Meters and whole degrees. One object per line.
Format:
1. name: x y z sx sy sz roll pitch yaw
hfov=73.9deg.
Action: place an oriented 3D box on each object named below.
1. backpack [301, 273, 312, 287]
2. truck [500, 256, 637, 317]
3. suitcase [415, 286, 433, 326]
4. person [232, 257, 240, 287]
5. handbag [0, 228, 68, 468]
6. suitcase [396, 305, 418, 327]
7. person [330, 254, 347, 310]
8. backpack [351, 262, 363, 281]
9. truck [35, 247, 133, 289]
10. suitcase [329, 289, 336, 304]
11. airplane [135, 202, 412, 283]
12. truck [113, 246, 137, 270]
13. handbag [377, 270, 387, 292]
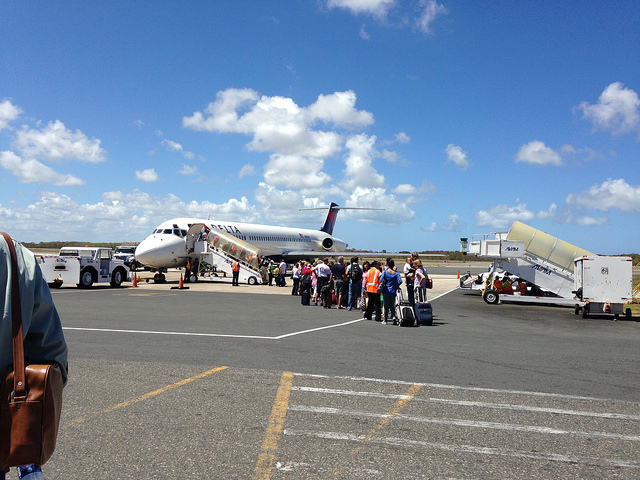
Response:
1. backpack: -0.588 1.760 18.814 0.506 0.435 0.743 -3 5 6
2. truck: 11.644 1.878 17.615 4.998 2.701 3.298 0 -2 4
3. suitcase: 3.253 2.018 13.431 0.547 1.280 0.546 -8 -15 41
4. person: -5.762 2.276 29.062 0.484 1.548 2.146 2 -2 -12
5. handbag: -1.729 0.627 2.492 0.345 0.928 0.245 2 -2 -15
6. suitcase: 2.622 2.306 13.320 0.664 0.611 1.063 2 5 -7
7. person: 0.765 1.731 17.408 0.625 2.145 1.398 1 -2 1
8. backpack: 1.366 1.281 16.692 0.422 0.652 0.617 1 -5 -3
9. truck: -12.525 1.539 22.904 2.385 1.860 3.914 0 1 23
10. suitcase: 0.577 2.505 18.829 0.481 0.761 0.262 -2 4 -7
11. airplane: -3.024 1.021 39.081 6.877 5.109 27.608 0 -3 31
12. truck: -16.781 1.534 36.755 1.845 1.911 3.105 -1 -6 3
13. handbag: 1.896 1.321 13.459 0.207 0.533 0.375 18 -11 -6
